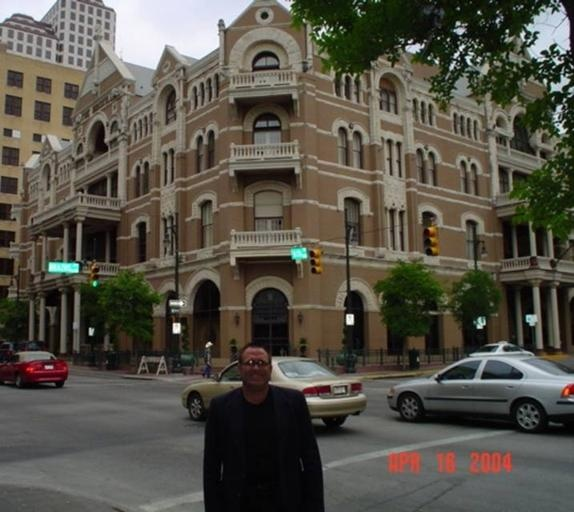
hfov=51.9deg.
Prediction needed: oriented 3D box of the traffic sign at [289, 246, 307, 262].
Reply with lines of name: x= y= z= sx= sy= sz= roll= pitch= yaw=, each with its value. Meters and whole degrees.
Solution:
traffic sign: x=0.619 y=-0.116 z=30.436 sx=0.710 sy=0.840 sz=0.789 roll=-1 pitch=-3 yaw=3

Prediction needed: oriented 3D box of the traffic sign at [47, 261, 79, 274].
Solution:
traffic sign: x=-13.939 y=0.720 z=36.498 sx=1.782 sy=0.649 sz=1.625 roll=9 pitch=-5 yaw=-36

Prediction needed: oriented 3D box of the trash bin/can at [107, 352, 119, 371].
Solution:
trash bin/can: x=-11.491 y=6.857 z=38.318 sx=0.819 sy=1.489 sz=0.887 roll=2 pitch=-11 yaw=-7
